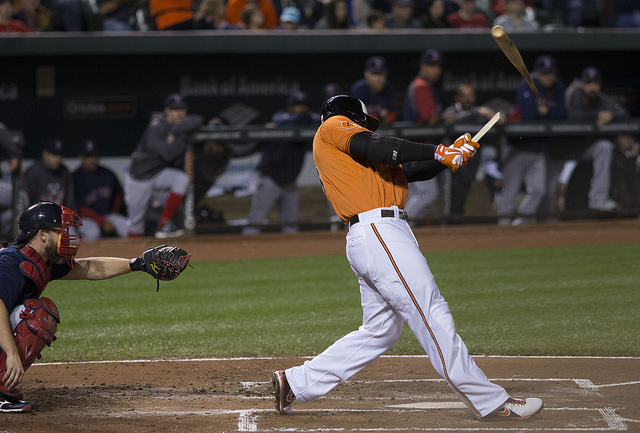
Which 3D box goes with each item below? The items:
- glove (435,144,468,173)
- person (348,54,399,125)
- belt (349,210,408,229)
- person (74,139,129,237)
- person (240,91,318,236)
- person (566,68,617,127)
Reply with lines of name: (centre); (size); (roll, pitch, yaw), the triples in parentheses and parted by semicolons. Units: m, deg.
glove: (1.080, -0.475, 10.438); (0.260, 0.216, 0.187); (1, 6, 4)
person: (0.746, -1.582, 16.141); (0.689, 1.069, 0.470); (-7, 23, -19)
belt: (0.491, 0.021, 10.579); (0.479, 0.153, 0.138); (0, 6, -2)
person: (-2.550, -0.287, 14.951); (0.824, 1.147, 0.856); (1, 12, -1)
person: (-0.480, -0.676, 15.641); (0.761, 1.974, 0.539); (-4, 20, -8)
person: (3.296, -1.432, 15.391); (0.610, 0.679, 0.479); (1, 6, 10)
